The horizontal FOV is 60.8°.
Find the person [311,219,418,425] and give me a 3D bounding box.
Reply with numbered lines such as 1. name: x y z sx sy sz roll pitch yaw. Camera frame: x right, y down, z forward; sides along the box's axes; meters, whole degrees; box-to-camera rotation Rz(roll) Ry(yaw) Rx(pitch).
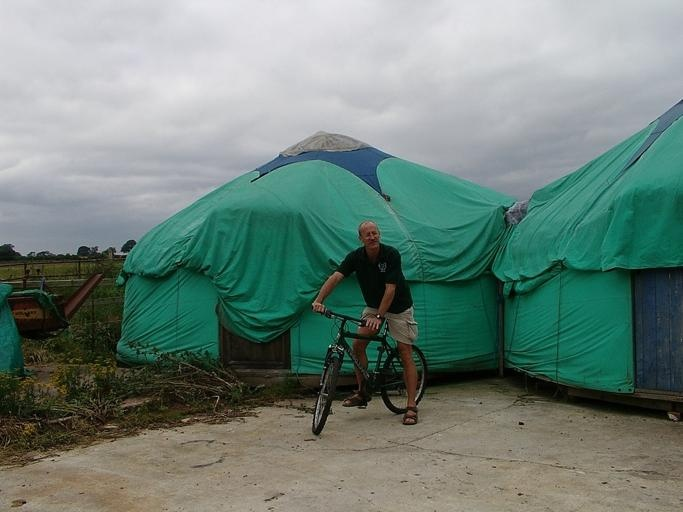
1. person: 0.329 0.724 6.475 1.000 2.210 0.766 -1 4 5

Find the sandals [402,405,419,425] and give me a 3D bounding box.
1. sandals: 0.745 1.745 6.393 0.170 0.168 0.184 -1 3 3

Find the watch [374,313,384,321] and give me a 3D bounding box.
1. watch: 0.394 0.643 6.171 0.076 0.046 0.084 4 -11 3

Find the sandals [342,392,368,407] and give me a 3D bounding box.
1. sandals: 0.179 1.659 6.754 0.332 0.153 0.171 0 -6 7

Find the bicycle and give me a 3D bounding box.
1. bicycle: 0.267 1.240 6.612 0.894 1.197 2.070 4 -3 42
